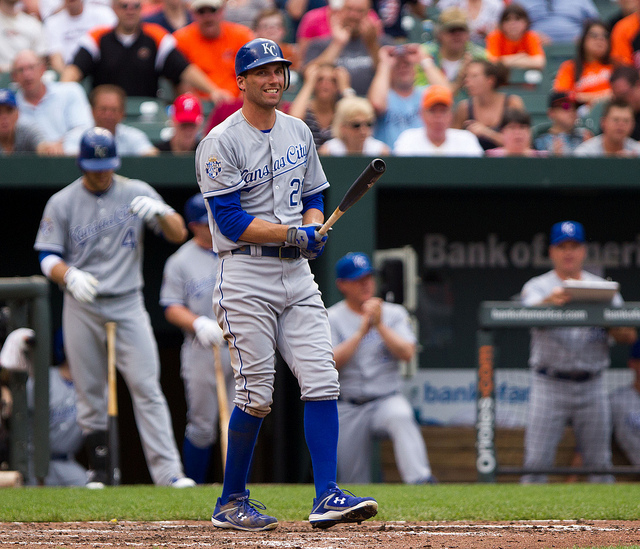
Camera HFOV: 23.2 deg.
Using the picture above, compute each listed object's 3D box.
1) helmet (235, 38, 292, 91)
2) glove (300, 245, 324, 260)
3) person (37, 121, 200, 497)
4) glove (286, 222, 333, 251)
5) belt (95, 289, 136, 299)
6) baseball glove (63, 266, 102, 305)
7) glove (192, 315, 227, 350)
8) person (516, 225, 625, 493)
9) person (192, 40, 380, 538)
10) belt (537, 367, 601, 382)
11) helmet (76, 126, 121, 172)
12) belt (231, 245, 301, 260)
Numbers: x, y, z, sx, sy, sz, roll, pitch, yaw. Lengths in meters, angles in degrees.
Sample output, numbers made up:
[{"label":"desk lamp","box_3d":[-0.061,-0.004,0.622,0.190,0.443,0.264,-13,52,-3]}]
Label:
[{"label":"helmet","box_3d":[-0.298,-1.095,8.042,0.260,0.262,0.323,-9,9,-36]},{"label":"glove","box_3d":[-0.047,-0.121,7.944,0.080,0.063,0.061,-15,19,-19]},{"label":"person","box_3d":[-1.306,0.190,9.718,0.925,2.189,0.595,1,-5,-10]},{"label":"glove","box_3d":[-0.057,-0.205,7.992,0.171,0.168,0.125,24,13,8]},{"label":"belt","box_3d":[-1.272,0.104,9.669,0.263,0.063,0.026,3,-6,-33]},{"label":"baseball glove","box_3d":[-1.453,0.042,9.469,0.177,0.232,0.071,-28,-5,-43]},{"label":"glove","box_3d":[-0.744,0.357,10.466,0.238,0.234,0.253,-1,-5,14]},{"label":"person","box_3d":[1.529,0.472,9.637,0.675,1.618,0.782,0,-5,-2]},{"label":"person","box_3d":[-0.117,0.047,8.174,1.105,2.537,0.849,-2,-1,26]},{"label":"belt","box_3d":[1.533,0.592,9.583,0.382,0.083,0.048,-3,-6,26]},{"label":"helmet","box_3d":[-1.375,-0.820,9.652,0.280,0.217,0.374,-1,26,-6]},{"label":"belt","box_3d":[-0.281,-0.128,8.011,0.357,0.072,0.052,0,-5,-7]}]
